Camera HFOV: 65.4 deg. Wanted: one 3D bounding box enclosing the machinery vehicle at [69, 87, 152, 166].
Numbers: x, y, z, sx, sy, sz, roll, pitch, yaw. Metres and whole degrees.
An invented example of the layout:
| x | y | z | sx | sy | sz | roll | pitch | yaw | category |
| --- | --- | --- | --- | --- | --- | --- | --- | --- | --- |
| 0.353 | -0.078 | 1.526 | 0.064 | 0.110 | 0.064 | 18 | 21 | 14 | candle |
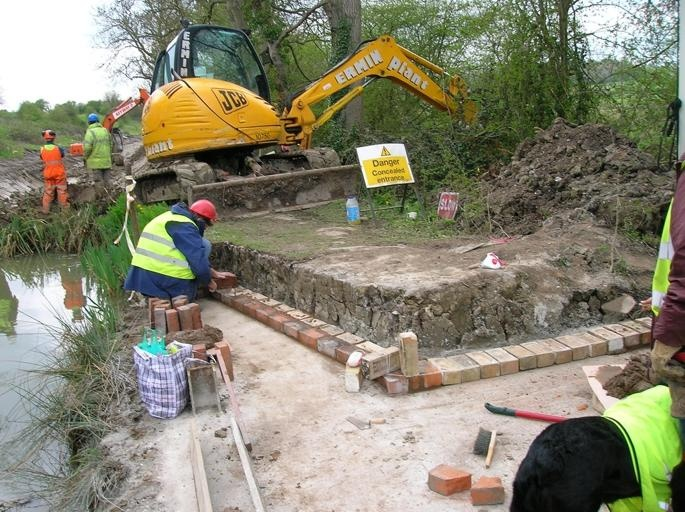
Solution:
| x | y | z | sx | sy | sz | roll | pitch | yaw | category |
| --- | --- | --- | --- | --- | --- | --- | --- | --- | --- |
| -5.811 | -3.307 | 13.465 | 2.520 | 1.411 | 0.714 | -3 | 18 | 14 | machinery vehicle |

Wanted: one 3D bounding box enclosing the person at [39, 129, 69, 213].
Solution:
| x | y | z | sx | sy | sz | roll | pitch | yaw | category |
| --- | --- | --- | --- | --- | --- | --- | --- | --- | --- |
| -7.210 | -2.070 | 13.191 | 0.685 | 1.985 | 1.475 | -10 | 11 | -26 | person |

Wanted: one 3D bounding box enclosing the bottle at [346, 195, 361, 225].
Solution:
| x | y | z | sx | sy | sz | roll | pitch | yaw | category |
| --- | --- | --- | --- | --- | --- | --- | --- | --- | --- |
| 0.155 | -0.737 | 8.512 | 0.213 | 0.435 | 0.391 | -4 | 10 | 3 | bottle |

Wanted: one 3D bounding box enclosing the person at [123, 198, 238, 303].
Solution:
| x | y | z | sx | sy | sz | roll | pitch | yaw | category |
| --- | --- | --- | --- | --- | --- | --- | --- | --- | --- |
| -1.902 | -0.113 | 6.063 | 1.030 | 1.066 | 0.945 | 6 | 5 | -15 | person |

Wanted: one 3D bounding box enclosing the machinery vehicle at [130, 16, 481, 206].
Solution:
| x | y | z | sx | sy | sz | roll | pitch | yaw | category |
| --- | --- | --- | --- | --- | --- | --- | --- | --- | --- |
| -0.521 | -3.024 | 10.874 | 7.089 | 2.857 | 2.792 | -9 | 16 | -24 | machinery vehicle |

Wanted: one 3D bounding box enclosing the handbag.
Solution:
| x | y | z | sx | sy | sz | roll | pitch | yaw | category |
| --- | --- | --- | --- | --- | --- | --- | --- | --- | --- |
| -1.384 | 0.977 | 4.196 | 0.426 | 0.546 | 0.262 | -7 | 11 | -18 | handbag |

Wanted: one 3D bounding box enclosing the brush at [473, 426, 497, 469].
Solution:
| x | y | z | sx | sy | sz | roll | pitch | yaw | category |
| --- | --- | --- | --- | --- | --- | --- | --- | --- | --- |
| 0.959 | 1.280 | 3.596 | 0.169 | 0.063 | 0.286 | -9 | 33 | 19 | brush |

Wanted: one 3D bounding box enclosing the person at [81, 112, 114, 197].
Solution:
| x | y | z | sx | sy | sz | roll | pitch | yaw | category |
| --- | --- | --- | --- | --- | --- | --- | --- | --- | --- |
| -5.979 | -2.467 | 13.022 | 0.684 | 1.950 | 0.945 | -9 | 11 | -23 | person |
